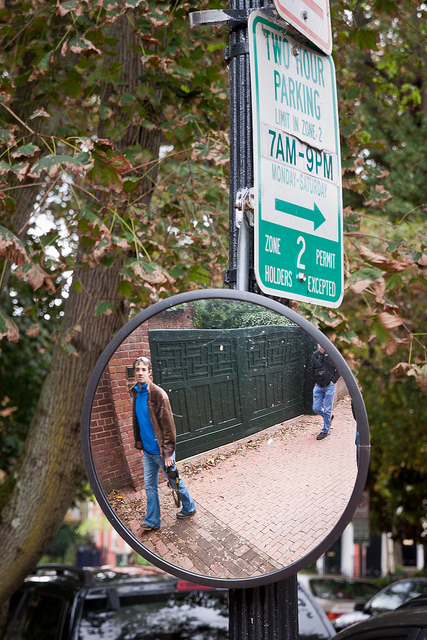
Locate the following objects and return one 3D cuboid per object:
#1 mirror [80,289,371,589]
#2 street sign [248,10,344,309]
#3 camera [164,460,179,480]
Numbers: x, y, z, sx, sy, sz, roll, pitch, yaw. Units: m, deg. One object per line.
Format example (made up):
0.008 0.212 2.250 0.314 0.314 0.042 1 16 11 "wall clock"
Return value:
0.021 0.276 1.530 0.691 0.679 0.287 -1 15 12 "mirror"
0.238 -0.456 1.795 0.244 0.835 0.559 -2 15 9 "street sign"
-0.095 0.346 1.452 0.027 0.034 0.033 -13 -6 -5 "camera"
